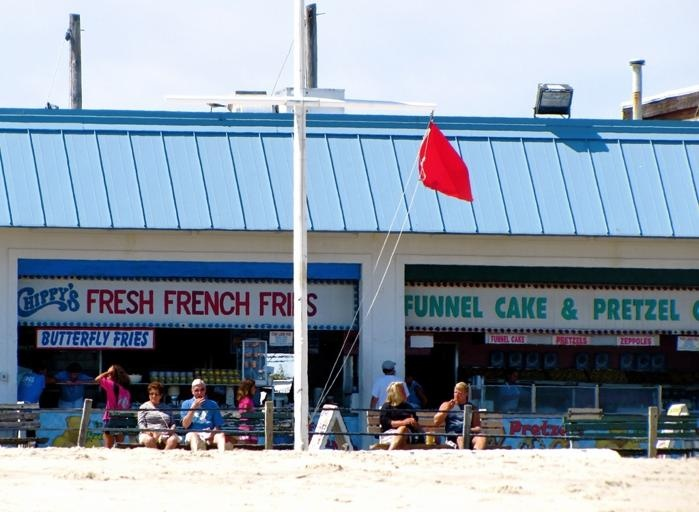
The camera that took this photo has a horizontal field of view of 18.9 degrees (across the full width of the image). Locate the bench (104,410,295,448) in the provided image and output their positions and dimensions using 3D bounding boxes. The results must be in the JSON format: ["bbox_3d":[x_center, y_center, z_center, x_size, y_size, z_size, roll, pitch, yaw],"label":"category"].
[{"bbox_3d":[-2.629,3.113,40.170,3.246,0.778,3.168,5,-7,-15],"label":"bench"}]

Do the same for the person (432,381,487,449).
[{"bbox_3d":[2.201,3.062,40.459,0.909,1.280,0.892,2,0,-16],"label":"person"}]

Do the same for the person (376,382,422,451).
[{"bbox_3d":[0.976,3.159,40.077,0.712,1.494,1.125,5,6,-3],"label":"person"}]

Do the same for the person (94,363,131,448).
[{"bbox_3d":[-4.596,3.174,40.870,0.733,2.075,0.622,4,0,-32],"label":"person"}]

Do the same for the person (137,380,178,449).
[{"bbox_3d":[-3.651,3.022,39.979,0.772,1.351,0.595,0,-13,-6],"label":"person"}]

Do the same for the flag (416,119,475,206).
[{"bbox_3d":[1.961,-1.857,41.911,0.899,1.660,0.918,2,2,-20],"label":"flag"}]

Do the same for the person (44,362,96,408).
[{"bbox_3d":[-5.764,2.672,43.434,0.801,1.049,0.315,3,17,-21],"label":"person"}]

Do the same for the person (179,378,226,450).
[{"bbox_3d":[-2.774,3.041,40.097,0.890,1.436,1.083,3,-14,-15],"label":"person"}]

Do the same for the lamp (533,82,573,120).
[{"bbox_3d":[4.418,-3.367,45.296,0.806,0.625,0.427,0,-13,-5],"label":"lamp"}]

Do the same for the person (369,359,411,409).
[{"bbox_3d":[0.729,2.508,42.004,0.621,0.978,0.649,5,-1,-22],"label":"person"}]
